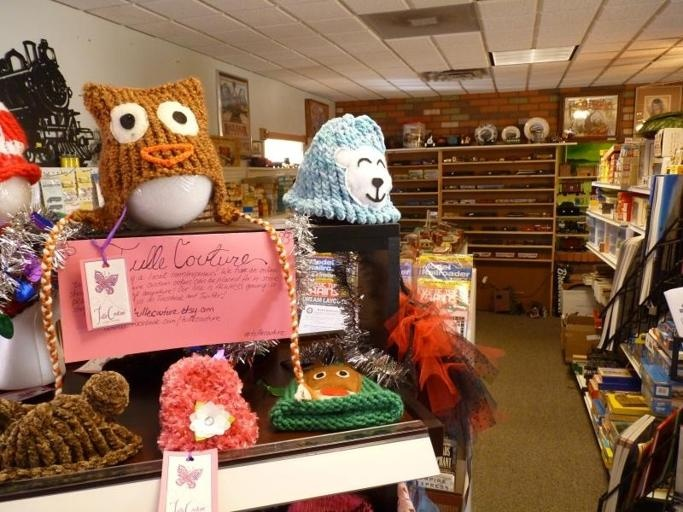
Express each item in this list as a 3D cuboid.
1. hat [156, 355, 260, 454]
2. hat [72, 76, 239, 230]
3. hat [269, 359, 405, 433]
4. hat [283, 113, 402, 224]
[{"bbox_3d":[-0.238,0.257,0.832,0.176,0.156,0.075,-3,-11,-12],"label":"hat"},{"bbox_3d":[-0.387,-0.203,0.953,0.341,0.300,0.203,-11,18,-30],"label":"hat"},{"bbox_3d":[-0.013,0.288,0.958,0.302,0.068,0.313,0,-1,6],"label":"hat"},{"bbox_3d":[-0.008,-0.200,1.157,0.275,0.220,0.265,9,10,39],"label":"hat"}]
